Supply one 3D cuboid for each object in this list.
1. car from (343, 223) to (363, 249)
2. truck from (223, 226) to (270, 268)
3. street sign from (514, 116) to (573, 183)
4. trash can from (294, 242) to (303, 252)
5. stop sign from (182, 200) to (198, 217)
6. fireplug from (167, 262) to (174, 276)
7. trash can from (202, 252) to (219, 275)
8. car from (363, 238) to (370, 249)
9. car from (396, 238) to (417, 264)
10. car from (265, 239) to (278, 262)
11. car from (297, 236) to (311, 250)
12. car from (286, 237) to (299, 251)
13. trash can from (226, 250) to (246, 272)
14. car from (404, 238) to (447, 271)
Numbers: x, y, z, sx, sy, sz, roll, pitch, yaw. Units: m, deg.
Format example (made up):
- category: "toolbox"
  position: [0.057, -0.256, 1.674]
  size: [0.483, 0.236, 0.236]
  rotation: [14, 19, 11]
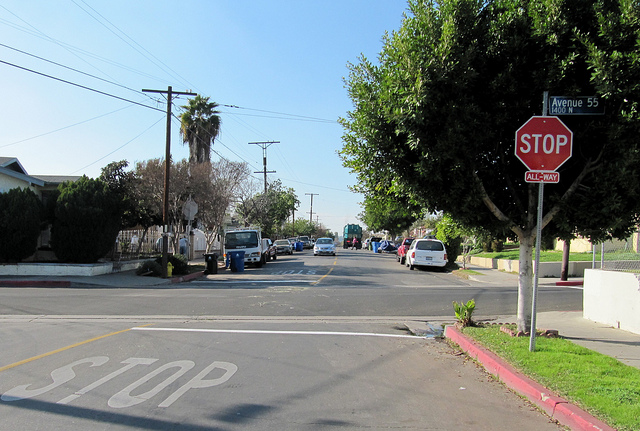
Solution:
- category: "car"
  position: [5.025, 3.410, 78.374]
  size: [2.555, 3.925, 3.314]
  rotation: [-1, 3, -1]
- category: "truck"
  position: [-4.968, 2.175, 35.709]
  size: [2.305, 3.074, 6.439]
  rotation: [-3, -1, 1]
- category: "street sign"
  position: [4.760, -1.409, 10.897]
  size: [1.121, 1.543, 0.046]
  rotation: [7, 32, 31]
- category: "trash can"
  position: [-2.736, 3.976, 64.255]
  size: [1.022, 1.208, 0.839]
  rotation: [-1, 1, -3]
- category: "stop sign"
  position: [-7.174, -0.326, 28.668]
  size: [0.711, 0.999, 0.253]
  rotation: [1, 0, 14]
- category: "fireplug"
  position: [-7.846, 2.847, 26.627]
  size: [0.442, 0.948, 0.469]
  rotation: [-1, 2, -17]
- category: "trash can"
  position: [-6.448, 2.851, 30.007]
  size: [1.015, 1.545, 1.008]
  rotation: [-1, 0, 6]
- category: "car"
  position: [7.711, 4.793, 84.360]
  size: [1.142, 1.062, 2.936]
  rotation: [0, -8, -3]
- category: "car"
  position: [6.044, 2.549, 35.592]
  size: [1.610, 1.975, 4.067]
  rotation: [1, -1, 7]
- category: "car"
  position: [-3.961, 2.925, 41.141]
  size: [1.303, 1.411, 2.939]
  rotation: [0, -7, -1]
- category: "car"
  position: [-2.249, 3.880, 70.021]
  size: [1.312, 1.411, 2.580]
  rotation: [0, -10, -3]
- category: "car"
  position: [-3.147, 3.378, 58.781]
  size: [1.131, 1.250, 2.164]
  rotation: [0, -11, -1]
- category: "trash can"
  position: [-5.226, 2.875, 31.523]
  size: [1.028, 1.637, 1.135]
  rotation: [-1, -7, 1]
- category: "car"
  position: [6.670, 2.435, 32.387]
  size: [2.395, 2.130, 4.573]
  rotation: [2, 1, 6]
